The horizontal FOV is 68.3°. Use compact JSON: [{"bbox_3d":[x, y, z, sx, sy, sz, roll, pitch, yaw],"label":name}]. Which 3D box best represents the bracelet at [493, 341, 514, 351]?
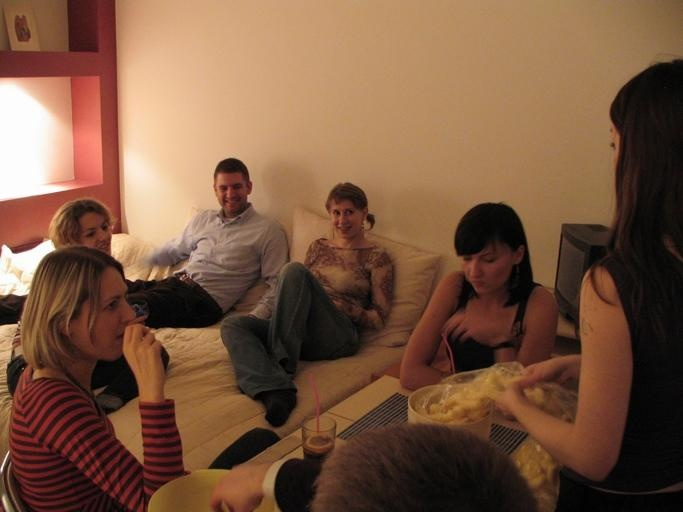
[{"bbox_3d":[0.626,0.342,1.942,0.041,0.034,0.043,-10,-8,41],"label":"bracelet"}]

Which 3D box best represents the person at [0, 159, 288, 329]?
[{"bbox_3d":[-1.160,-0.118,3.518,1.782,1.009,1.019,3,7,-6],"label":"person"}]

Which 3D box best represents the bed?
[{"bbox_3d":[-0.481,0.480,1.711,0.628,0.090,0.594,8,14,39],"label":"bed"}]

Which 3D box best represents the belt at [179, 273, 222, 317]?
[{"bbox_3d":[-0.925,0.264,3.373,0.105,0.295,0.225,-42,19,-10],"label":"belt"}]
